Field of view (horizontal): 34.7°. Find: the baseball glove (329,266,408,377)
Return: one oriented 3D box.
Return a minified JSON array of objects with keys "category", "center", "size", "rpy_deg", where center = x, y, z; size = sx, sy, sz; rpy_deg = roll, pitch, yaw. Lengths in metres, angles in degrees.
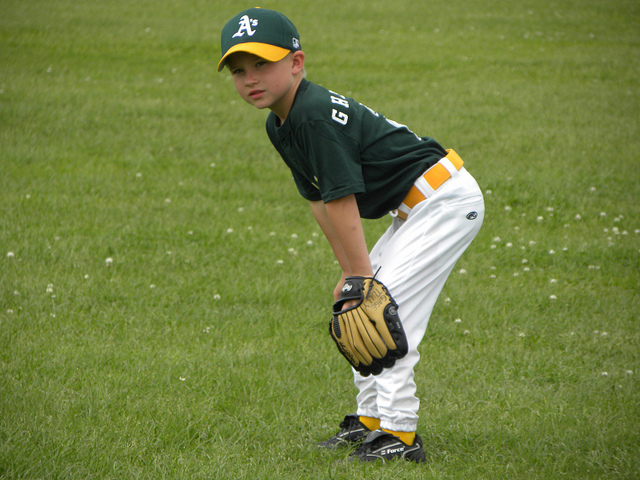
[{"category":"baseball glove","center":[0.353,0.595,7.470],"size":[0.524,0.733,0.264],"rpy_deg":[-7,2,28]}]
